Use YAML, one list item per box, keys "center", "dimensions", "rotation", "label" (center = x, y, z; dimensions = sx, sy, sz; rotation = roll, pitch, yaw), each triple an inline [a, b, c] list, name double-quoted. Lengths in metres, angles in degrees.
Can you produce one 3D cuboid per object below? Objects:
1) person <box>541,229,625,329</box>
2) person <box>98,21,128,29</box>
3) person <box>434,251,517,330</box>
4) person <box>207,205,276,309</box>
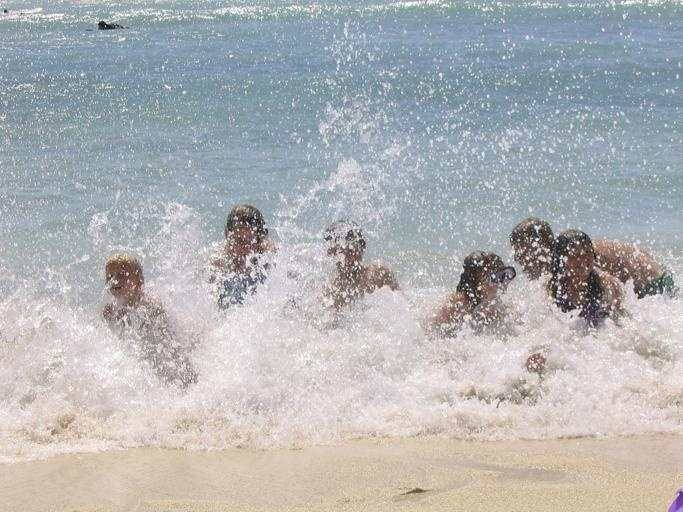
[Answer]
- center: [3.722, 0.324, 19.015]
  dimensions: [1.167, 1.309, 0.609]
  rotation: [7, 32, 19]
  label: "person"
- center: [-6.300, -6.582, 33.833]
  dimensions: [0.689, 0.277, 0.449]
  rotation: [3, 3, 4]
  label: "person"
- center: [2.063, 0.524, 19.314]
  dimensions: [1.326, 0.940, 0.729]
  rotation: [-10, 31, -10]
  label: "person"
- center: [-1.633, -0.095, 19.777]
  dimensions: [0.913, 1.129, 1.312]
  rotation: [17, 37, 31]
  label: "person"
